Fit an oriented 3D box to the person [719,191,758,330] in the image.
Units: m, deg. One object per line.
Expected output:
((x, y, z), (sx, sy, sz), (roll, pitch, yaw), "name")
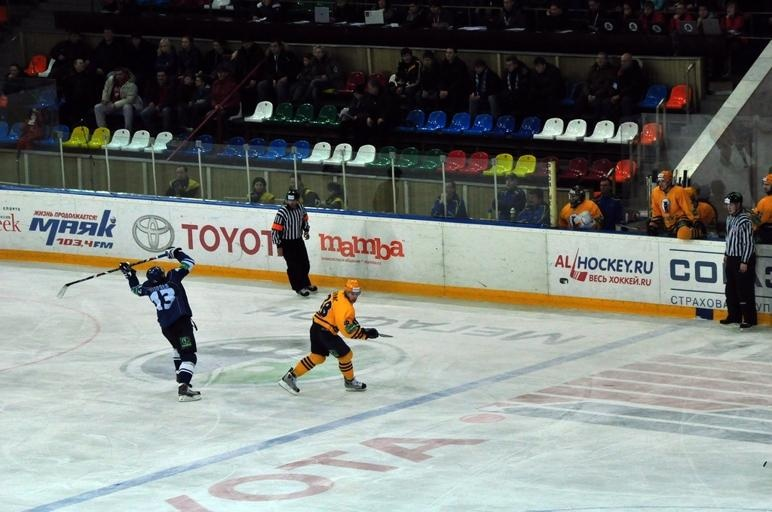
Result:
((6.227, 0.277, 19.681), (0.582, 2.005, 0.485), (3, 4, 17), "person")

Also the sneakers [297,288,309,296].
((-1.680, 0.728, 22.567), (0.212, 0.076, 0.114), (4, 22, 33), "sneakers")

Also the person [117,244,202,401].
((-3.517, 1.060, 17.800), (1.144, 2.331, 0.938), (1, 4, -13), "person")

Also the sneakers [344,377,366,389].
((-0.560, 2.014, 17.799), (0.414, 0.165, 0.137), (2, 19, 14), "sneakers")

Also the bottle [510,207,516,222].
((2.466, -0.804, 21.736), (0.121, 0.280, 0.123), (2, 4, 0), "bottle")

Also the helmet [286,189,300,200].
((-1.861, -1.236, 22.296), (0.201, 0.183, 0.239), (3, 31, 5), "helmet")

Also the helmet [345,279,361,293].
((-0.540, 0.481, 17.424), (0.204, 0.188, 0.319), (1, 3, -7), "helmet")

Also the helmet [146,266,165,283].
((-3.724, 0.299, 18.069), (0.219, 0.261, 0.253), (53, 19, 24), "helmet")

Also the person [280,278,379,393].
((-0.774, 1.279, 17.547), (1.415, 1.806, 0.619), (3, 4, 27), "person")

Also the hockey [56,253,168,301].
((-5.397, 0.435, 22.199), (2.570, 0.273, 0.210), (-18, -24, 25), "hockey")
